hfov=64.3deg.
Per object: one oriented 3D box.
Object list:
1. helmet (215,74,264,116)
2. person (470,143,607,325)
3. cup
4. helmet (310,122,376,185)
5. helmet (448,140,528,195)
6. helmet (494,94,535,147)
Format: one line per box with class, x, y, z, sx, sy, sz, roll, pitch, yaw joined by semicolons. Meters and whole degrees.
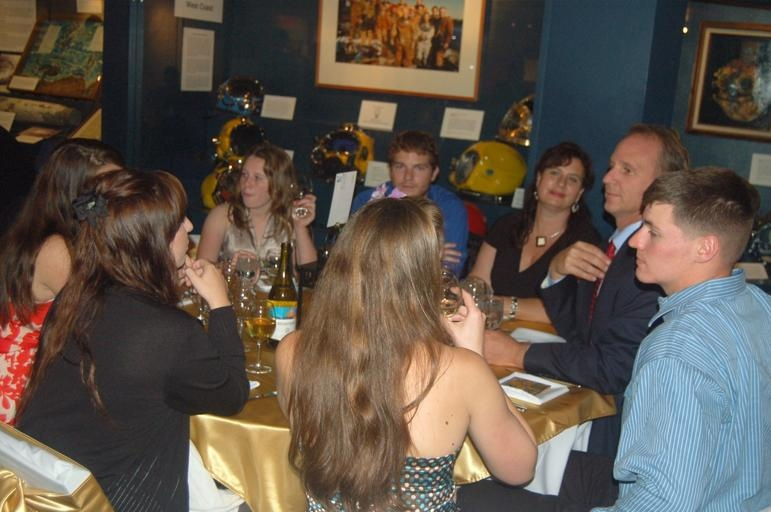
helmet;-1.086;-1.207;4.727;0.326;0.296;0.291;41;56;21
person;0.830;-0.109;3.309;0.707;0.988;0.593;14;7;31
cup;0.335;0.170;2.337;0.188;0.116;0.198;8;-25;4
helmet;-0.252;-0.764;4.765;0.562;0.524;0.483;6;11;13
helmet;0.705;-0.611;4.236;0.446;0.294;0.316;15;21;31
helmet;0.881;-0.888;4.125;0.093;0.325;0.302;12;10;-42
